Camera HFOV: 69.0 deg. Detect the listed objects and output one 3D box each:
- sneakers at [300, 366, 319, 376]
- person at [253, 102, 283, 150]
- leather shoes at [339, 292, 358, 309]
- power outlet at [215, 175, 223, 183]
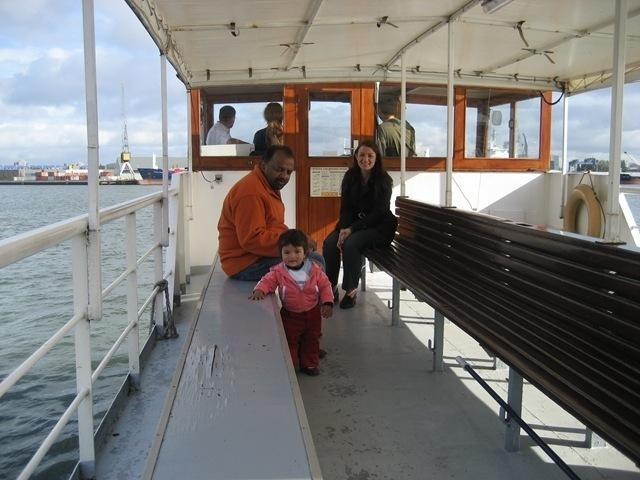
[{"bbox_3d":[-0.083,0.994,3.598,0.152,0.073,0.058,-3,0,27],"label":"sneakers"},{"bbox_3d":[-0.795,-1.684,7.008,0.454,0.773,0.197,-1,10,-10],"label":"person"},{"bbox_3d":[0.310,0.644,5.104,0.206,0.178,0.101,-5,11,-28],"label":"leather shoes"},{"bbox_3d":[-1.557,-0.932,7.119,0.102,0.114,0.105,-1,1,-5],"label":"power outlet"}]
